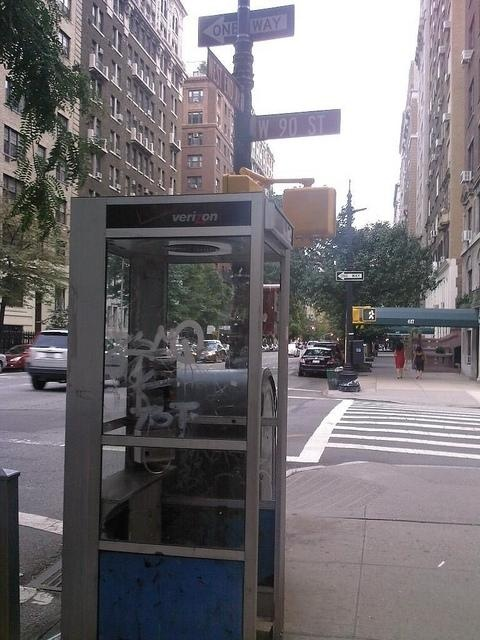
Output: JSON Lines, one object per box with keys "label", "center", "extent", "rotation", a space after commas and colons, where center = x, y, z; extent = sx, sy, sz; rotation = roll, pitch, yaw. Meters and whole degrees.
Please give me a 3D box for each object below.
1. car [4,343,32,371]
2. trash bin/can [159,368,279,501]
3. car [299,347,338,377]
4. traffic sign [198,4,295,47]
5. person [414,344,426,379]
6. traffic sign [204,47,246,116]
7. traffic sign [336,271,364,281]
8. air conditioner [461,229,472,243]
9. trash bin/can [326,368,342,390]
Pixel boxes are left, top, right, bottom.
{"label": "car", "center": [-9.941, 1.690, 27.317], "extent": [0.921, 0.906, 2.328], "rotation": [-1, -8, 8]}
{"label": "trash bin/can", "center": [-0.035, 0.605, 2.944], "extent": [0.332, 0.783, 0.358], "rotation": [-4, -9, 20]}
{"label": "car", "center": [3.894, 2.127, 30.619], "extent": [1.145, 1.221, 3.058], "rotation": [0, 0, 10]}
{"label": "traffic sign", "center": [0.012, -2.428, 4.956], "extent": [0.863, 0.316, 0.185], "rotation": [1, 0, 23]}
{"label": "person", "center": [8.658, 2.030, 29.797], "extent": [0.351, 1.287, 2.345], "rotation": [1, -1, 14]}
{"label": "traffic sign", "center": [-0.137, -1.933, 4.835], "extent": [0.267, 0.429, 0.574], "rotation": [1, -1, 15]}
{"label": "traffic sign", "center": [3.658, -1.541, 20.696], "extent": [0.894, 0.316, 0.783], "rotation": [1, -1, 22]}
{"label": "air conditioner", "center": [11.948, -4.546, 32.414], "extent": [0.462, 0.899, 0.550], "rotation": [2, 3, 9]}
{"label": "trash bin/can", "center": [3.434, 2.199, 22.737], "extent": [0.539, 1.059, 0.628], "rotation": [2, 3, 8]}
